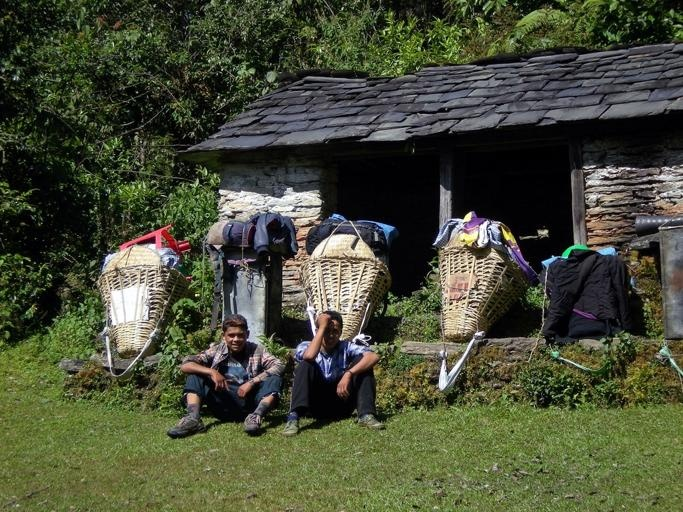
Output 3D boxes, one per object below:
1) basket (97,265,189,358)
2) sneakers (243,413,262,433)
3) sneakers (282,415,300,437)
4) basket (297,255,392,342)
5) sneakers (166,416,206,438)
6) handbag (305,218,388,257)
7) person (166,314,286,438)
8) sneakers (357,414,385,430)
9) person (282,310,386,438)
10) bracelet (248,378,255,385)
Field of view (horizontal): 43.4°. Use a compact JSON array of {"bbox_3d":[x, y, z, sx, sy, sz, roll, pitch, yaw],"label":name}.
[{"bbox_3d":[-2.581,0.720,10.953,1.412,1.150,1.307,12,-13,-35],"label":"basket"},{"bbox_3d":[-0.924,1.748,8.989,0.188,0.205,0.244,1,0,-9],"label":"sneakers"},{"bbox_3d":[-0.521,1.754,8.917,0.158,0.206,0.182,1,0,-3],"label":"sneakers"},{"bbox_3d":[0.042,0.470,10.538,0.914,0.819,0.961,-8,-37,23],"label":"basket"},{"bbox_3d":[-1.614,1.769,9.049,0.447,0.218,0.168,-3,10,-28],"label":"sneakers"},{"bbox_3d":[0.087,-0.245,10.899,1.063,0.457,0.646,2,0,-3],"label":"handbag"},{"bbox_3d":[-1.186,1.219,9.181,1.049,1.199,1.481,1,2,7],"label":"person"},{"bbox_3d":[0.308,1.731,8.981,0.243,0.112,0.127,-1,-4,36],"label":"sneakers"},{"bbox_3d":[-0.157,1.174,9.213,0.951,1.239,1.458,1,-7,-21],"label":"person"},{"bbox_3d":[-0.951,1.339,9.184,0.057,0.041,0.052,0,-13,-18],"label":"bracelet"}]
